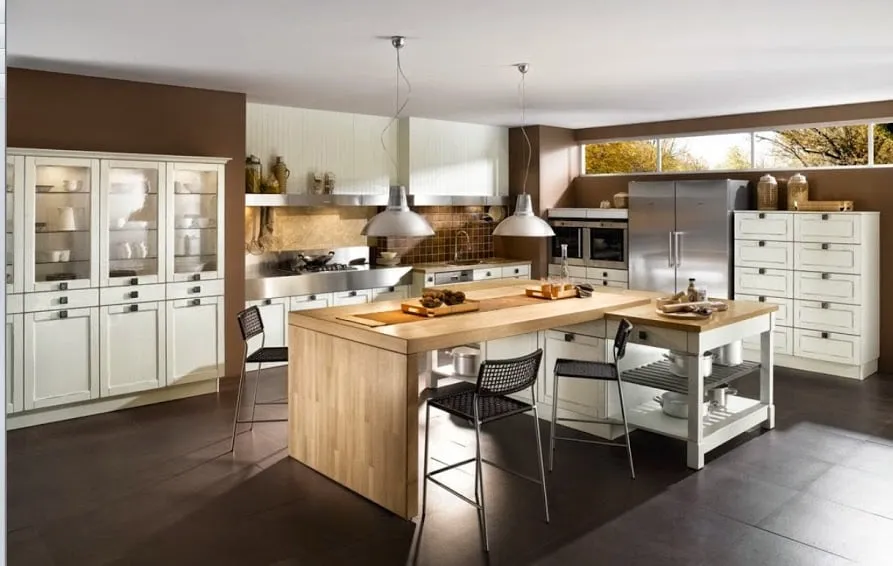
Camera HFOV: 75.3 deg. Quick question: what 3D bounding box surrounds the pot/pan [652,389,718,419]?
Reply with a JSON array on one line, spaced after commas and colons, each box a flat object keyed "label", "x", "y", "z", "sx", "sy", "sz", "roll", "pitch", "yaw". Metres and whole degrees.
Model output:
[{"label": "pot/pan", "x": 2.216, "y": 1.136, "z": 5.477, "sx": 0.372, "sy": 0.124, "sz": 0.304, "roll": -1, "pitch": 1, "yaw": 45}]

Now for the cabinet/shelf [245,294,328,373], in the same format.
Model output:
[{"label": "cabinet/shelf", "x": -1.681, "y": 0.515, "z": 5.968, "sx": 1.027, "sy": 0.873, "sz": 0.535, "roll": -3, "pitch": 5, "yaw": -36}]

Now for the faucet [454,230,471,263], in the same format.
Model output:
[{"label": "faucet", "x": 0.259, "y": -0.600, "z": 9.389, "sx": 0.222, "sy": 0.475, "sz": 0.393, "roll": 5, "pitch": 15, "yaw": 20}]

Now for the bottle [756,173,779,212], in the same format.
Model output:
[{"label": "bottle", "x": 4.297, "y": -1.208, "z": 7.741, "sx": 0.242, "sy": 0.446, "sz": 0.370, "roll": 6, "pitch": 16, "yaw": 22}]

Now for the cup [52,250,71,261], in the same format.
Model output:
[{"label": "cup", "x": -3.867, "y": -0.266, "z": 5.826, "sx": 0.127, "sy": 0.071, "sz": 0.082, "roll": -2, "pitch": 3, "yaw": -30}]

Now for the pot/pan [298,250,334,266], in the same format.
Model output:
[{"label": "pot/pan", "x": -1.828, "y": -0.327, "z": 8.025, "sx": 0.349, "sy": 0.117, "sz": 0.222, "roll": 1, "pitch": -3, "yaw": -45}]

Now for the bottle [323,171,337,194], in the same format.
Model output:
[{"label": "bottle", "x": -1.595, "y": -1.371, "z": 7.947, "sx": 0.158, "sy": 0.281, "sz": 0.187, "roll": -2, "pitch": 15, "yaw": -5}]

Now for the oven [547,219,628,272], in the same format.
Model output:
[{"label": "oven", "x": 2.311, "y": -0.655, "z": 9.183, "sx": 1.426, "sy": 0.831, "sz": 0.539, "roll": 7, "pitch": 16, "yaw": 42}]

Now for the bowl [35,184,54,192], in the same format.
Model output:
[{"label": "bowl", "x": -3.946, "y": -0.924, "z": 5.697, "sx": 0.024, "sy": 0.071, "sz": 0.131, "roll": 14, "pitch": 20, "yaw": 43}]

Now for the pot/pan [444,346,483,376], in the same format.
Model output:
[{"label": "pot/pan", "x": 0.246, "y": 0.862, "z": 6.366, "sx": 0.248, "sy": 0.183, "sz": 0.378, "roll": -7, "pitch": 9, "yaw": -44}]

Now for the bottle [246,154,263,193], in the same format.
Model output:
[{"label": "bottle", "x": -2.422, "y": -1.367, "z": 7.304, "sx": 0.153, "sy": 0.459, "sz": 0.340, "roll": -1, "pitch": 15, "yaw": -3}]

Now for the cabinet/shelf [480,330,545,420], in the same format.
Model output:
[{"label": "cabinet/shelf", "x": 0.749, "y": 0.943, "z": 6.142, "sx": 0.546, "sy": 0.799, "sz": 0.523, "roll": -12, "pitch": -1, "yaw": -5}]

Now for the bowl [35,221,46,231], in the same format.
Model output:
[{"label": "bowl", "x": -3.996, "y": -0.556, "z": 5.719, "sx": 0.089, "sy": 0.056, "sz": 0.085, "roll": -1, "pitch": -1, "yaw": 0}]

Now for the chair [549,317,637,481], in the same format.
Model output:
[{"label": "chair", "x": 1.259, "y": 0.986, "z": 5.012, "sx": 0.915, "sy": 1.145, "sz": 0.847, "roll": 0, "pitch": -1, "yaw": 36}]

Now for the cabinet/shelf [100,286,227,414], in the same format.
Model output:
[{"label": "cabinet/shelf", "x": -3.111, "y": 0.728, "z": 6.262, "sx": 1.412, "sy": 1.076, "sz": 0.449, "roll": -2, "pitch": 2, "yaw": -38}]

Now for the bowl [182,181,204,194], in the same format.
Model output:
[{"label": "bowl", "x": -2.814, "y": -1.054, "z": 6.423, "sx": 0.133, "sy": 0.079, "sz": 0.140, "roll": 0, "pitch": 3, "yaw": 0}]

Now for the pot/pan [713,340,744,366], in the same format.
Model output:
[{"label": "pot/pan", "x": 2.750, "y": 0.649, "z": 5.647, "sx": 0.271, "sy": 0.270, "sz": 0.257, "roll": -4, "pitch": 5, "yaw": -12}]

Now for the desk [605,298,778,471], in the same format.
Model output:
[{"label": "desk", "x": 2.458, "y": 0.824, "z": 5.616, "sx": 1.880, "sy": 1.439, "sz": 1.439, "roll": -6, "pitch": 7, "yaw": -44}]

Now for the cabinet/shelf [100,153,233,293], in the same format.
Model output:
[{"label": "cabinet/shelf", "x": -3.037, "y": -0.576, "z": 6.271, "sx": 1.320, "sy": 1.482, "sz": 0.326, "roll": -8, "pitch": 17, "yaw": -27}]

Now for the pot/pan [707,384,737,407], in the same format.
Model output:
[{"label": "pot/pan", "x": 2.738, "y": 1.114, "z": 5.734, "sx": 0.315, "sy": 0.200, "sz": 0.181, "roll": -1, "pitch": -3, "yaw": -42}]

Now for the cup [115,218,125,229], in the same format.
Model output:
[{"label": "cup", "x": -3.396, "y": -0.625, "z": 6.051, "sx": 0.103, "sy": 0.100, "sz": 0.096, "roll": -1, "pitch": 10, "yaw": 0}]

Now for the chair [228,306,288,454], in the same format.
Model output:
[{"label": "chair", "x": -1.636, "y": 0.926, "z": 5.626, "sx": 0.850, "sy": 1.259, "sz": 0.731, "roll": 0, "pitch": 6, "yaw": -6}]

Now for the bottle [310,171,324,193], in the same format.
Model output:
[{"label": "bottle", "x": -1.740, "y": -1.360, "z": 7.850, "sx": 0.213, "sy": 0.268, "sz": 0.111, "roll": -6, "pitch": 16, "yaw": -21}]

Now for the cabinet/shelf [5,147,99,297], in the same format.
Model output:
[{"label": "cabinet/shelf", "x": -3.860, "y": -0.592, "z": 5.720, "sx": 0.886, "sy": 1.331, "sz": 0.318, "roll": -8, "pitch": 17, "yaw": -26}]
